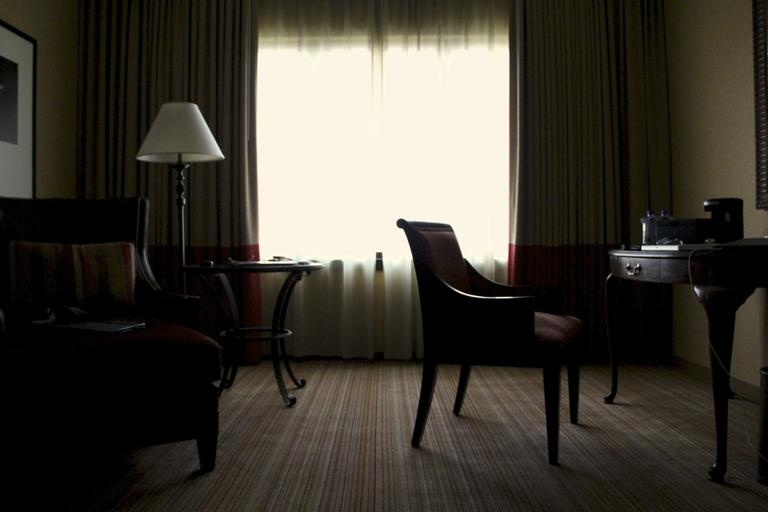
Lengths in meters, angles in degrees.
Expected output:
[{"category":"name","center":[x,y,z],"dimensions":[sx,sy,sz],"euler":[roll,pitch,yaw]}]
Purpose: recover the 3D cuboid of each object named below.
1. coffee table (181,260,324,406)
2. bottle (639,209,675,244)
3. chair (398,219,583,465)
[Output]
[{"category":"coffee table","center":[-0.944,0.492,4.501],"dimensions":[0.923,1.040,1.064],"euler":[-1,-6,1]},{"category":"bottle","center":[1.777,-0.162,3.933],"dimensions":[0.171,0.216,0.367],"euler":[6,16,26]},{"category":"chair","center":[0.642,0.451,3.728],"dimensions":[1.111,1.334,0.760],"euler":[4,14,19]}]
